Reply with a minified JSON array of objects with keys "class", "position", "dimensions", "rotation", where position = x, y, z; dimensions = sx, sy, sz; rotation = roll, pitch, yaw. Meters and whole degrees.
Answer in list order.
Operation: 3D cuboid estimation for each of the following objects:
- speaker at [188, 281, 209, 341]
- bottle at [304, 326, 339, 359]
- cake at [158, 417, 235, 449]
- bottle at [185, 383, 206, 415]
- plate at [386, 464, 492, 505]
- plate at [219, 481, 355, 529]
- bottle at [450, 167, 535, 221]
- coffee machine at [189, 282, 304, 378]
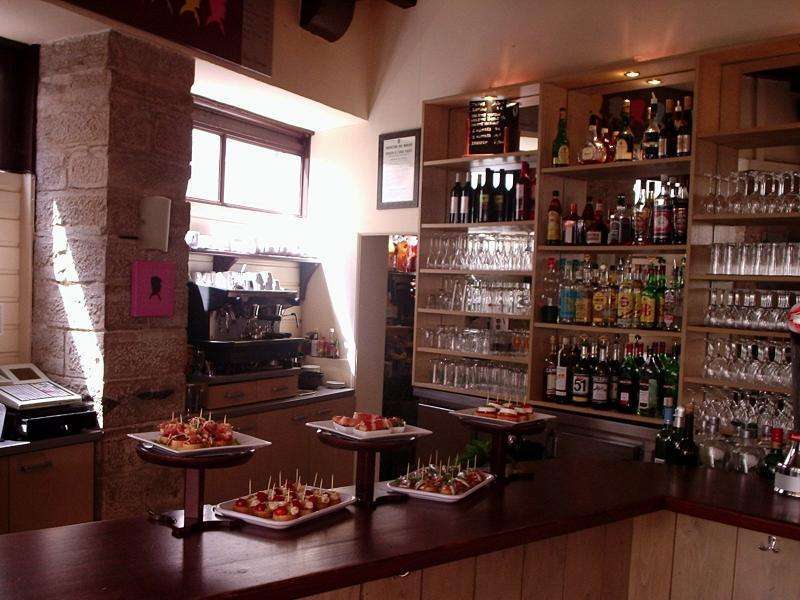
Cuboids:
[{"class":"speaker","position":[-1.349,0.093,4.176],"dimensions":[0.210,0.399,0.071],"rotation":[9,9,42]},{"class":"bottle","position":[-0.642,0.366,5.193],"dimensions":[0.249,0.251,0.109],"rotation":[2,-6,7]},{"class":"cake","position":[-0.642,0.428,2.002],"dimensions":[0.139,0.051,0.123],"rotation":[1,2,-23]},{"class":"bottle","position":[-1.270,0.614,3.910],"dimensions":[0.109,0.184,0.125],"rotation":[1,7,-7]},{"class":"plate","position":[0.173,0.680,2.284],"dimensions":[0.422,0.075,0.204],"rotation":[1,8,-11]},{"class":"plate","position":[-0.362,0.669,2.033],"dimensions":[0.459,0.091,0.222],"rotation":[0,8,-19]},{"class":"bottle","position":[0.633,-0.692,4.174],"dimensions":[0.413,0.260,0.084],"rotation":[-2,-11,41]},{"class":"coffee machine","position":[-1.035,0.228,4.409],"dimensions":[0.526,0.778,0.980],"rotation":[-2,-2,36]}]
